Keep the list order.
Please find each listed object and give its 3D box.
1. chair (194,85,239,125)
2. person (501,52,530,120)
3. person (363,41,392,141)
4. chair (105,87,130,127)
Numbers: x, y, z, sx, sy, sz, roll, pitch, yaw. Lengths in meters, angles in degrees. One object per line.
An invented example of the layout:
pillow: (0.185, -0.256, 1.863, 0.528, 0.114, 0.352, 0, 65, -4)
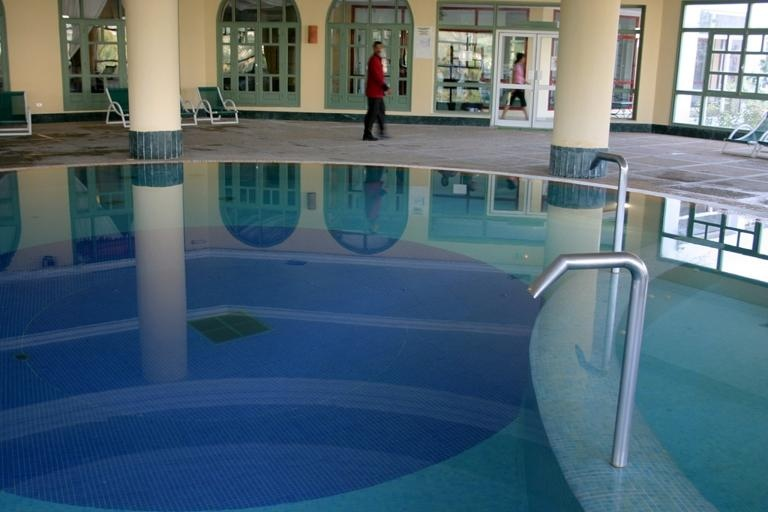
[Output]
chair: (-5.376, -4.838, 16.655, 0.933, 0.989, 1.518, -13, 27, -38)
person: (4.369, -5.589, 17.245, 0.828, 2.043, 0.361, 4, 17, 10)
person: (-0.237, -4.303, 13.616, 0.675, 2.425, 1.294, 1, 17, 0)
chair: (-8.126, -4.510, 15.745, 0.634, 1.161, 3.633, -8, 19, -27)
